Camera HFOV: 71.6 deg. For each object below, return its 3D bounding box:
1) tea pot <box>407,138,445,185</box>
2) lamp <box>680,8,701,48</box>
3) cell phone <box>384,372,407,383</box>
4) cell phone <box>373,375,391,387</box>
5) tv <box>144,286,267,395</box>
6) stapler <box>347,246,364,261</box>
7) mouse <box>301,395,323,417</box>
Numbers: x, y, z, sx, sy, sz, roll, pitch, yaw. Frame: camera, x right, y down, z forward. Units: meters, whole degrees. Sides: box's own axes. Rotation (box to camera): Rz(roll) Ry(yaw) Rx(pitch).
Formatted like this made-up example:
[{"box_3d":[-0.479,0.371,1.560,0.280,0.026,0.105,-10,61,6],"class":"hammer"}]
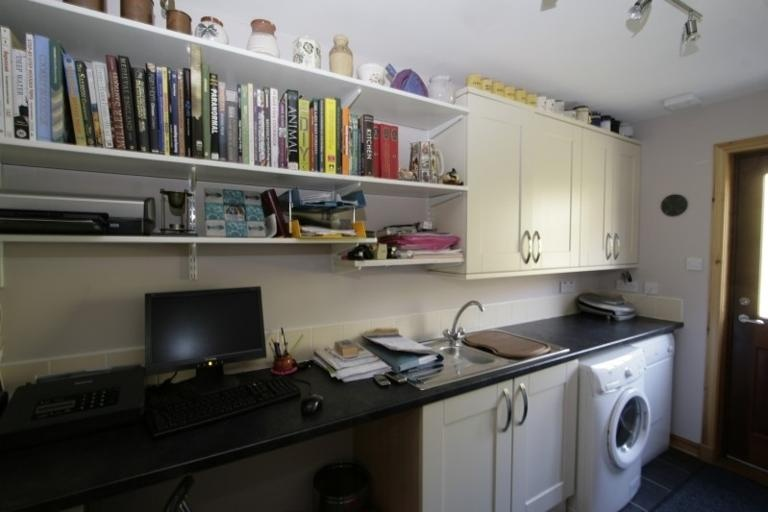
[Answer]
[{"box_3d":[0.270,-0.592,3.394,0.189,0.273,0.272,-2,5,-37],"class":"tea pot"},{"box_3d":[1.655,-1.239,2.873,0.090,0.157,0.088,2,-1,30],"class":"lamp"},{"box_3d":[0.065,0.709,3.103,0.058,0.028,0.100,0,7,-42],"class":"cell phone"},{"box_3d":[-0.007,0.726,3.086,0.087,0.043,0.106,-2,6,-21],"class":"cell phone"},{"box_3d":[-1.037,0.482,3.011,0.567,0.487,0.114,-2,-15,-30],"class":"tv"},{"box_3d":[-0.172,-0.008,3.300,0.083,0.083,0.084,-6,-23,28],"class":"stapler"},{"box_3d":[-0.385,0.801,2.844,0.114,0.087,0.078,-1,6,-10],"class":"mouse"}]
